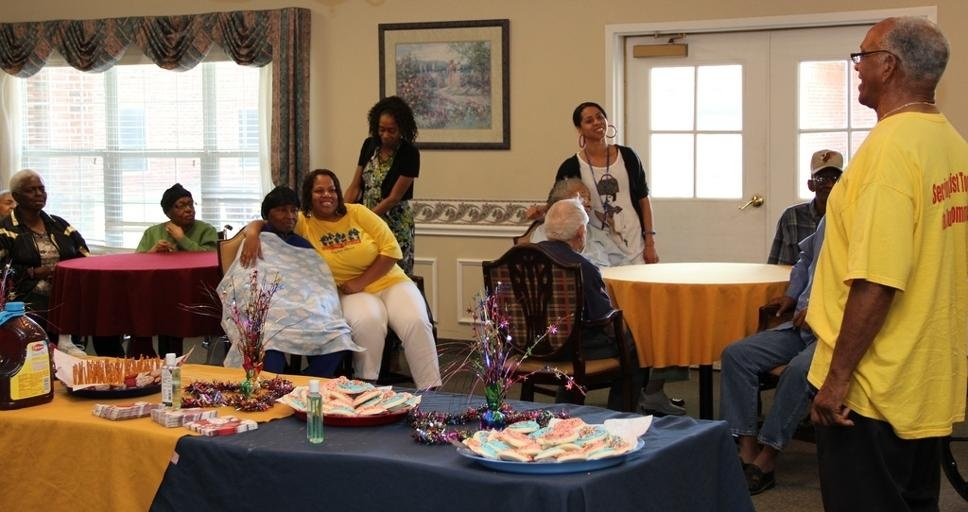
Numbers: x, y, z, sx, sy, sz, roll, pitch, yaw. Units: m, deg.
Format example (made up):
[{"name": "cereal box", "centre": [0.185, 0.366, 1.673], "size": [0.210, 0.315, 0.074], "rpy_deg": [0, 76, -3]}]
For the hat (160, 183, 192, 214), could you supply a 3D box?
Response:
[{"name": "hat", "centre": [-2.664, -0.494, 6.414], "size": [0.224, 0.249, 0.178], "rpy_deg": [-1, 15, -8]}]

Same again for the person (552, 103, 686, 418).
[{"name": "person", "centre": [1.077, -0.002, 6.163], "size": [0.931, 2.643, 0.728], "rpy_deg": [-7, 2, 22]}]

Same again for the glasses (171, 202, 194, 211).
[{"name": "glasses", "centre": [-2.606, -0.427, 6.392], "size": [0.079, 0.029, 0.083], "rpy_deg": [-15, -7, -40]}]

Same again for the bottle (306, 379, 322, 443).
[{"name": "bottle", "centre": [-0.758, 0.678, 3.302], "size": [0.075, 0.246, 0.199], "rpy_deg": [-3, 15, -13]}]

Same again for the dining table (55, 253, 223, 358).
[{"name": "dining table", "centre": [-2.629, 0.403, 5.770], "size": [1.425, 0.742, 0.599], "rpy_deg": [2, 14, 5]}]

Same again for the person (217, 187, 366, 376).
[{"name": "person", "centre": [-1.369, 0.253, 5.078], "size": [0.865, 1.389, 0.760], "rpy_deg": [-5, 16, -20]}]

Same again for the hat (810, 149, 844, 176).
[{"name": "hat", "centre": [2.562, -0.695, 5.597], "size": [0.235, 0.182, 0.349], "rpy_deg": [3, 0, 9]}]
